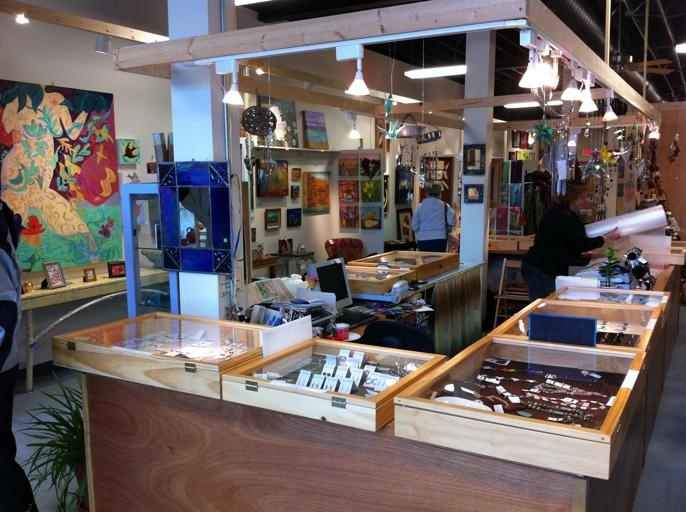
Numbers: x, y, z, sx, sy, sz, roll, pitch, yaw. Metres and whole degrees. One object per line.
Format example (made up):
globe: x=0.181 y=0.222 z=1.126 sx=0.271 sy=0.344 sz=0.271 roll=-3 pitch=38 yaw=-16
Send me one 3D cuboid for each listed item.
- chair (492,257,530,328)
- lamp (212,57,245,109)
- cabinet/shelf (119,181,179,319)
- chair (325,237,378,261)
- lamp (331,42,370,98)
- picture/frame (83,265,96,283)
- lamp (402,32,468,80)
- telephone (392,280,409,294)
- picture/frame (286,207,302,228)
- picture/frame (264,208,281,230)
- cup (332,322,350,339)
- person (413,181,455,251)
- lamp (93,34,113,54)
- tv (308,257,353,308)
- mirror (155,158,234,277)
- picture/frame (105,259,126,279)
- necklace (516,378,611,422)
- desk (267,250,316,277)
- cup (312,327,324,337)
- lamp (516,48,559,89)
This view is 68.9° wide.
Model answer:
chair: x=2.847 y=0.650 z=8.038 sx=0.663 sy=1.130 sz=0.655 roll=2 pitch=5 yaw=38
lamp: x=-0.793 y=-1.252 z=3.614 sx=0.182 sy=0.302 sz=0.188 roll=6 pitch=19 yaw=26
cabinet/shelf: x=-1.973 y=-0.248 z=5.220 sx=0.449 sy=0.785 sz=0.292 roll=-4 pitch=9 yaw=-6
chair: x=0.140 y=-0.153 z=10.681 sx=0.605 sy=0.783 sz=0.702 roll=-2 pitch=0 yaw=-30
lamp: x=0.076 y=-1.188 z=3.185 sx=0.204 sy=0.298 sz=0.208 roll=-18 pitch=22 yaw=-11
picture/frame: x=-3.311 y=0.244 z=6.504 sx=0.135 sy=0.243 sz=0.211 roll=-8 pitch=-4 yaw=40
lamp: x=2.039 y=-4.280 z=11.368 sx=1.108 sy=0.583 sz=3.591 roll=-1 pitch=12 yaw=7
telephone: x=0.687 y=0.366 z=5.889 sx=0.085 sy=0.099 sz=0.309 roll=5 pitch=11 yaw=31
picture/frame: x=-1.007 y=-0.781 z=10.075 sx=0.021 sy=0.252 sz=0.380 roll=-2 pitch=21 yaw=26
picture/frame: x=-1.355 y=-0.706 z=9.494 sx=0.036 sy=0.334 sz=0.450 roll=1 pitch=2 yaw=27
cup: x=-0.017 y=0.657 z=4.347 sx=0.123 sy=0.095 sz=0.131 roll=2 pitch=-2 yaw=0
person: x=1.673 y=-0.404 z=9.527 sx=0.700 sy=1.875 sz=0.624 roll=4 pitch=22 yaw=10
lamp: x=-2.925 y=-2.568 z=6.048 sx=0.161 sy=0.210 sz=0.275 roll=-8 pitch=14 yaw=-23
tv: x=-0.090 y=0.337 z=5.417 sx=0.206 sy=0.612 sz=0.635 roll=-15 pitch=2 yaw=-36
mirror: x=-1.285 y=-0.351 z=4.405 sx=1.013 sy=1.276 sz=0.096 roll=5 pitch=8 yaw=18
picture/frame: x=-3.055 y=0.185 z=6.693 sx=0.235 sy=0.208 sz=0.126 roll=4 pitch=-15 yaw=-38
necklace: x=1.120 y=0.741 z=2.547 sx=0.428 sy=0.051 sz=0.483 roll=6 pitch=14 yaw=33
desk: x=-1.005 y=0.165 z=9.669 sx=0.576 sy=0.696 sz=0.749 roll=3 pitch=6 yaw=33
cup: x=-0.206 y=0.656 z=4.274 sx=0.064 sy=0.067 sz=0.079 roll=-2 pitch=-5 yaw=17
lamp: x=1.259 y=-1.204 z=3.120 sx=0.333 sy=0.188 sz=0.103 roll=-14 pitch=14 yaw=-21
